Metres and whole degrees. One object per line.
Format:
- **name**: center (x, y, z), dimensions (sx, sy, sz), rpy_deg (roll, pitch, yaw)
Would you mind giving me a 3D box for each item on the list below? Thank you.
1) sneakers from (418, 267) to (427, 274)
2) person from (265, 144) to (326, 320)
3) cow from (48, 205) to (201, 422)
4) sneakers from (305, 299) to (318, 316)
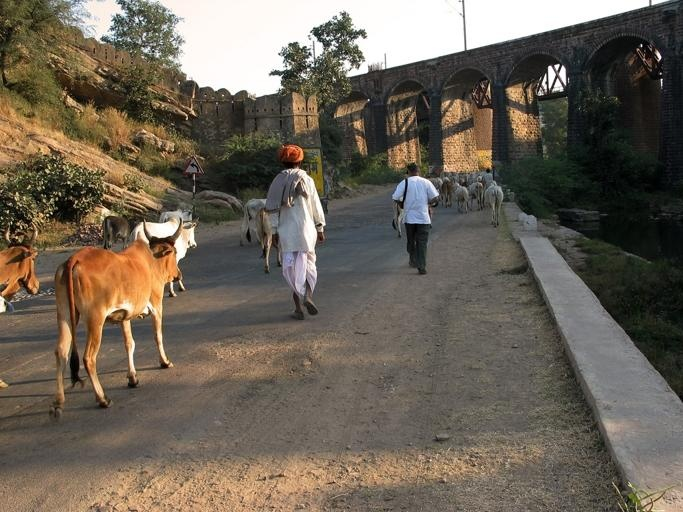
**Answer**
- **sneakers**: center (1.544, 0.286, 11.216), dimensions (0.089, 0.108, 0.246), rpy_deg (2, 7, 8)
- **person**: center (-0.648, -0.185, 8.500), dimensions (0.818, 2.084, 0.674), rpy_deg (-4, 13, -8)
- **cow**: center (-2.351, 0.646, 6.109), dimensions (0.492, 1.561, 1.530), rpy_deg (3, 13, 20)
- **sneakers**: center (-0.449, 0.758, 8.538), dimensions (0.068, 0.196, 0.133), rpy_deg (-40, 17, -23)
